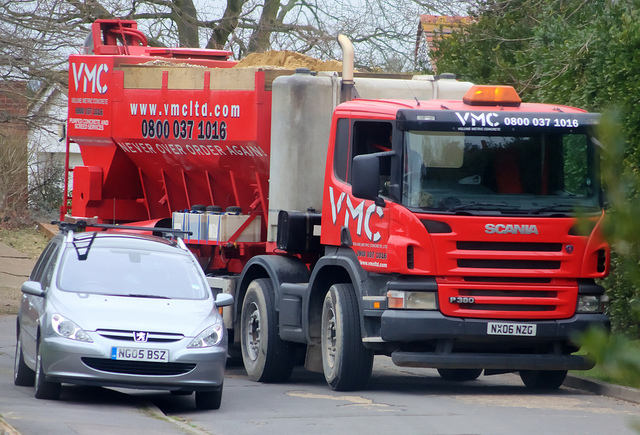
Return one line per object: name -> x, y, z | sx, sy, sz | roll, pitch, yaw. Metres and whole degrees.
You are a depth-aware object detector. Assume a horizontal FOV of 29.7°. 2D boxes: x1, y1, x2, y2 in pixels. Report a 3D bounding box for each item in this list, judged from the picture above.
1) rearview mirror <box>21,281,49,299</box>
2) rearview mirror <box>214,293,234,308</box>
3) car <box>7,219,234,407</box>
rearview mirror -> -3.860, 1.013, 16.492 | 0.339, 0.220, 0.608 | -9, 3, -16
rearview mirror -> -1.337, 1.184, 16.839 | 0.249, 0.161, 0.401 | -8, 3, -7
car -> -2.828, 1.258, 17.278 | 2.076, 1.574, 3.295 | 3, -5, -17
